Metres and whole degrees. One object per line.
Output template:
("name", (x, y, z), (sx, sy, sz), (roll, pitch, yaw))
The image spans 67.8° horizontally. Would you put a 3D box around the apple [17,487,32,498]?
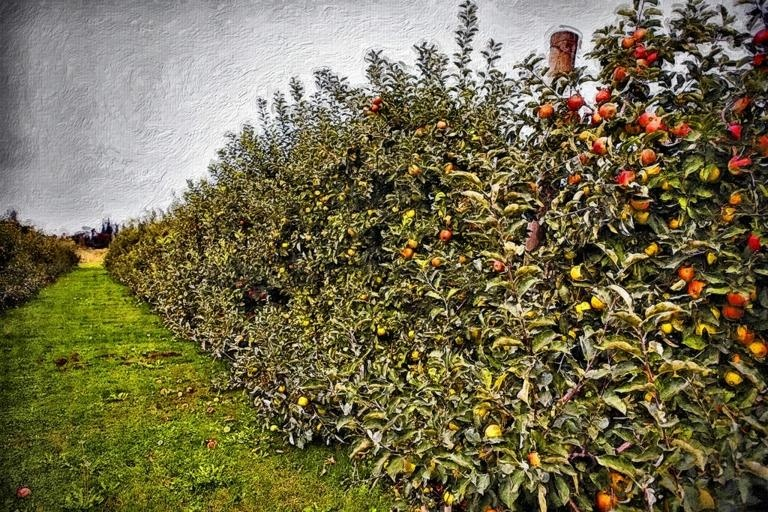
("apple", (-2.764, 1.836, 4.429), (0.096, 0.093, 0.029), (-6, 2, 4))
